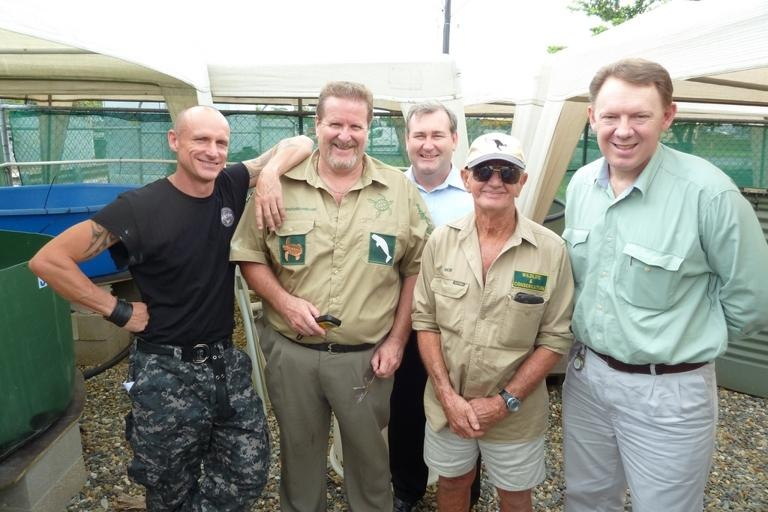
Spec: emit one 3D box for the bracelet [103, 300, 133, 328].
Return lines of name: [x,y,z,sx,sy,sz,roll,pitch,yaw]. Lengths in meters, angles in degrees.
bracelet: [-1.489,0.327,2.873,0.129,0.149,0.156,29,-19,-30]

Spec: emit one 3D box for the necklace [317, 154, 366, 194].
necklace: [-0.264,-0.487,3.029,0.248,0.268,0.102,-1,15,2]

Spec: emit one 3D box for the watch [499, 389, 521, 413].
watch: [0.709,0.808,2.766,0.071,0.115,0.108,-42,16,-2]

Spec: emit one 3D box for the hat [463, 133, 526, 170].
hat: [0.635,-0.595,2.864,0.352,0.215,0.448,0,3,-1]
